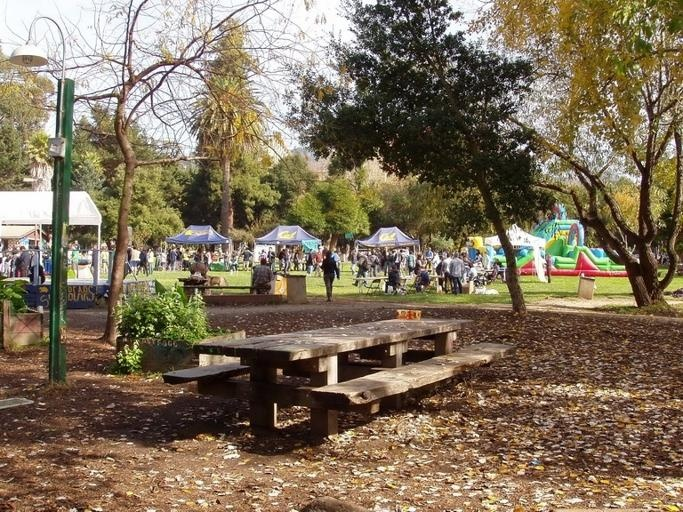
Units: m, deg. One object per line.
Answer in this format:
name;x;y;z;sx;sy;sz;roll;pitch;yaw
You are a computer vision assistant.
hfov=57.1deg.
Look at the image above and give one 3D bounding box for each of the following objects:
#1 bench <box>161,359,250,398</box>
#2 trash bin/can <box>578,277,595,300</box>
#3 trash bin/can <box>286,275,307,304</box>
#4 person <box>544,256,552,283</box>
bench;-1.507;1.414;7.183;0.915;0.314;0.818;0;3;-8
trash bin/can;8.945;1.208;23.197;0.501;0.759;0.999;1;3;17
trash bin/can;-1.558;1.156;21.588;0.687;0.908;0.990;0;3;-7
person;11.095;0.732;33.983;0.224;1.393;0.851;1;3;9
